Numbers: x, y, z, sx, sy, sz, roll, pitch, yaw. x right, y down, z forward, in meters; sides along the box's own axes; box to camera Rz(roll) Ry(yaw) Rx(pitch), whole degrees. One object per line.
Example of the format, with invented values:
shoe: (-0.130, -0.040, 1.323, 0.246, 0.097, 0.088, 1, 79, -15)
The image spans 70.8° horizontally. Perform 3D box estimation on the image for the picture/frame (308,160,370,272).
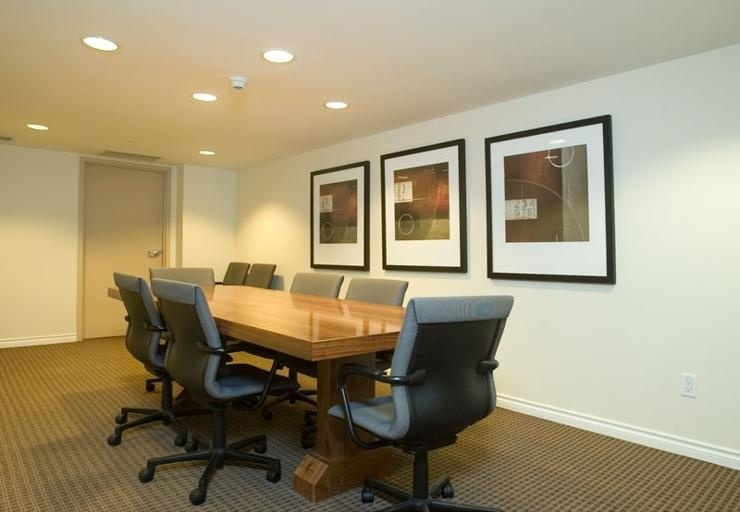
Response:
picture/frame: (-0.327, -0.464, 5.933, 0.060, 1.574, 1.330, -1, 1, -42)

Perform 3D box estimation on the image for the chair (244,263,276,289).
chair: (-1.394, 0.248, 6.626, 0.345, 0.394, 0.336, 3, -6, 33)

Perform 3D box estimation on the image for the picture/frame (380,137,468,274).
picture/frame: (0.520, -0.477, 5.098, 1.111, 1.287, 0.195, 9, 14, 41)

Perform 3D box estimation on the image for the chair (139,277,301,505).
chair: (-1.056, 0.817, 4.000, 1.267, 1.636, 1.208, 1, -2, -38)

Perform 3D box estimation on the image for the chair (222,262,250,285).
chair: (-1.821, 0.243, 7.049, 0.341, 0.386, 0.325, 2, -1, 30)

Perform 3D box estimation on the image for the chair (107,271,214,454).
chair: (-1.567, 0.768, 4.110, 0.947, 1.193, 0.881, 5, -5, -22)
